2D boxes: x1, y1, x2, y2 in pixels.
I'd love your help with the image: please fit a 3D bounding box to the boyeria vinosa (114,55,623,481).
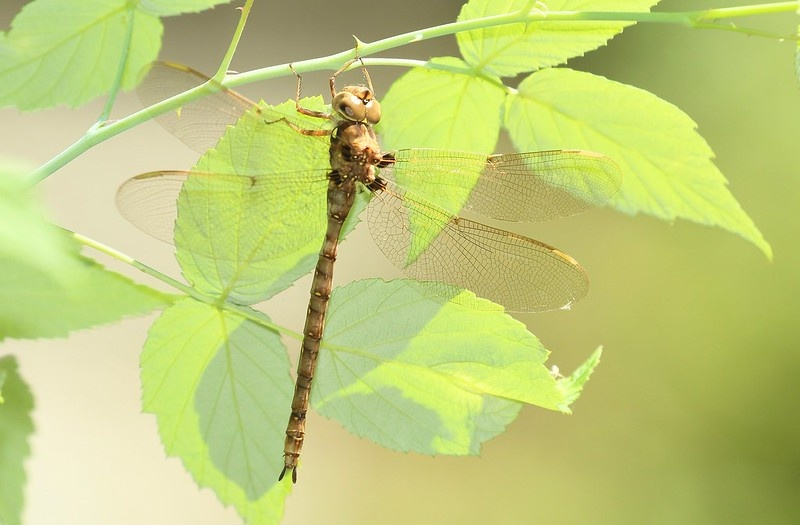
[{"bbox_3d":[-0.009,-0.051,1.168,0.646,0.316,0.500,-29,-62,7],"label":"boyeria vinosa"}]
